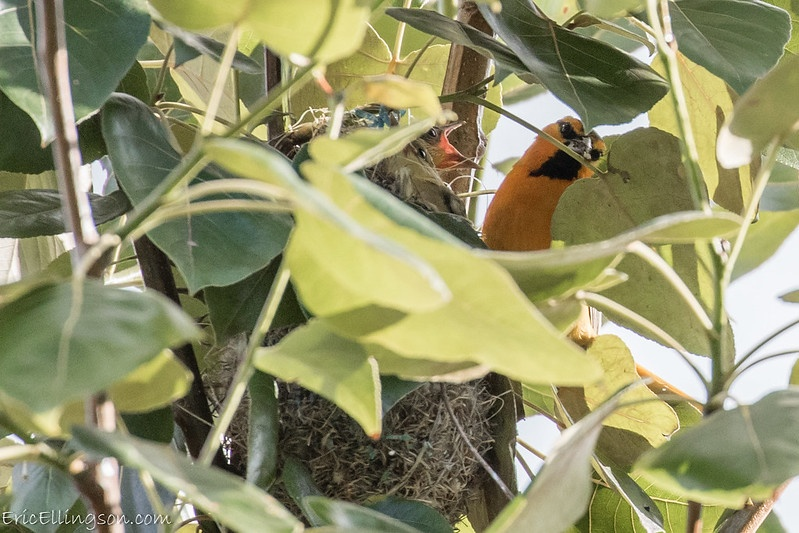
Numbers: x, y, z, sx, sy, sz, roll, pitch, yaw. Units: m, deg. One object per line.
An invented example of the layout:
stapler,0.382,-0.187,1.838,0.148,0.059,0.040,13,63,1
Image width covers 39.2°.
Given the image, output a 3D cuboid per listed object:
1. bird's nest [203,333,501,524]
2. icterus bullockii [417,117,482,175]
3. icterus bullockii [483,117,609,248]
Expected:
bird's nest,-0.024,0.174,1.198,0.302,0.189,0.300,12,-16,-8
icterus bullockii,0.053,-0.162,1.492,0.129,0.075,0.043,3,-15,-15
icterus bullockii,0.187,-0.094,1.354,0.154,0.163,0.084,-26,-72,17
